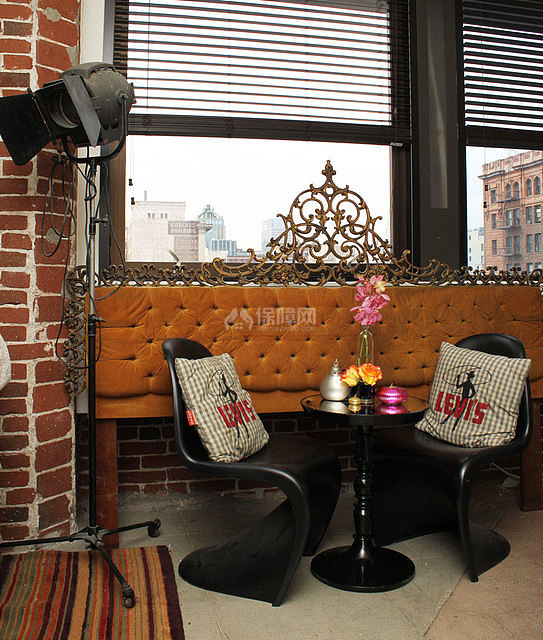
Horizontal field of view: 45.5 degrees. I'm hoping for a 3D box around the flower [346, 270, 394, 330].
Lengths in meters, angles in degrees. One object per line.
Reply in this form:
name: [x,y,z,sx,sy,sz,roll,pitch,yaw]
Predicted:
flower: [0.447,-0.070,2.954,0.155,0.262,0.509,1,4,7]
